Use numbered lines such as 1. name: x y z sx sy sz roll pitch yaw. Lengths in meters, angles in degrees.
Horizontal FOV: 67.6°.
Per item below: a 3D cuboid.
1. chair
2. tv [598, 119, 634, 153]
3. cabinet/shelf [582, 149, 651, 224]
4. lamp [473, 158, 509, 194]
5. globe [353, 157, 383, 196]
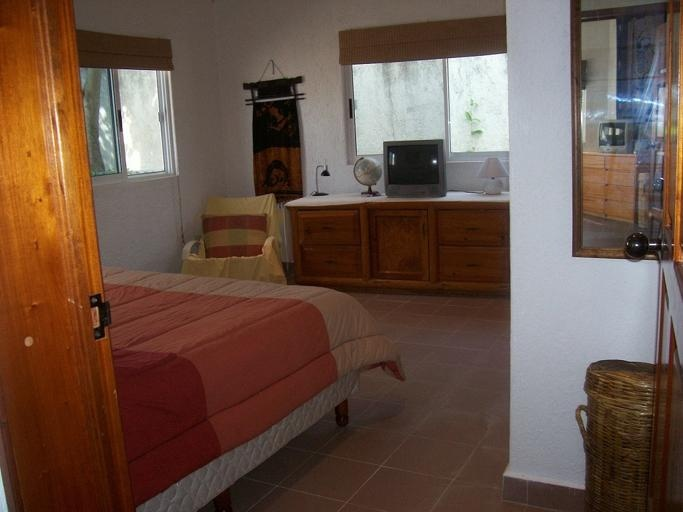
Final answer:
1. chair: -1.114 -0.064 5.347 1.039 1.092 0.973 -2 5 3
2. tv: 1.014 -0.445 1.879 0.066 0.120 0.121 -14 15 -27
3. cabinet/shelf: 0.980 -0.263 1.940 0.236 0.241 0.081 5 -6 -8
4. lamp: 1.478 -0.791 4.979 0.289 0.360 0.291 -6 8 -16
5. globe: 0.290 -0.856 5.414 0.290 0.384 0.480 -1 13 8
